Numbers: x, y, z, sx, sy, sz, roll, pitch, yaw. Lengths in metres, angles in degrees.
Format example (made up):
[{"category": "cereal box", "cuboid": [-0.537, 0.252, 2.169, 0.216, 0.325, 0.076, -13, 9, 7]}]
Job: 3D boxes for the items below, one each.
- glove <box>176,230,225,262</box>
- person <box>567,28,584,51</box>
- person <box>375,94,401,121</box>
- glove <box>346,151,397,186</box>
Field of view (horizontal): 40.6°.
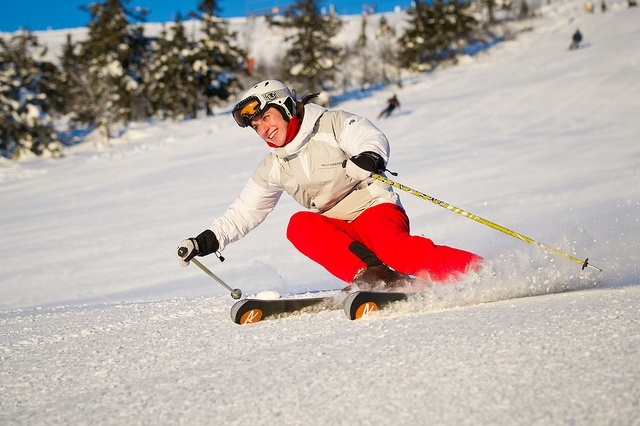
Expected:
[{"category": "glove", "cuboid": [-2.598, 0.737, 18.569, 0.897, 0.648, 0.377, -23, 20, -20]}, {"category": "person", "cuboid": [9.603, -6.629, 32.724, 0.499, 0.785, 0.526, 24, 9, 24]}, {"category": "person", "cuboid": [2.531, -3.823, 31.432, 0.732, 0.255, 0.984, 16, -4, -9]}, {"category": "glove", "cuboid": [1.079, -0.959, 18.262, 0.893, 0.365, 0.603, -6, -12, -34]}]
